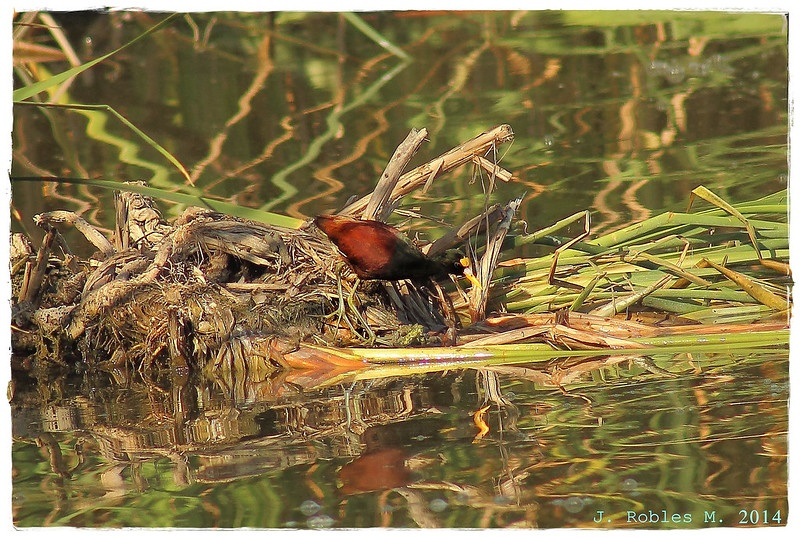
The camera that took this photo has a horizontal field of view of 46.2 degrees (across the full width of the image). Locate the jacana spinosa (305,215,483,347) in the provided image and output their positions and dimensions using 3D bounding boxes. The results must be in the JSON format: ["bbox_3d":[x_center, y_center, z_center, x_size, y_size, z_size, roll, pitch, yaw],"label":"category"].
[{"bbox_3d":[0.011,-0.028,5.139,1.062,0.573,0.338,31,54,27],"label":"jacana spinosa"}]
